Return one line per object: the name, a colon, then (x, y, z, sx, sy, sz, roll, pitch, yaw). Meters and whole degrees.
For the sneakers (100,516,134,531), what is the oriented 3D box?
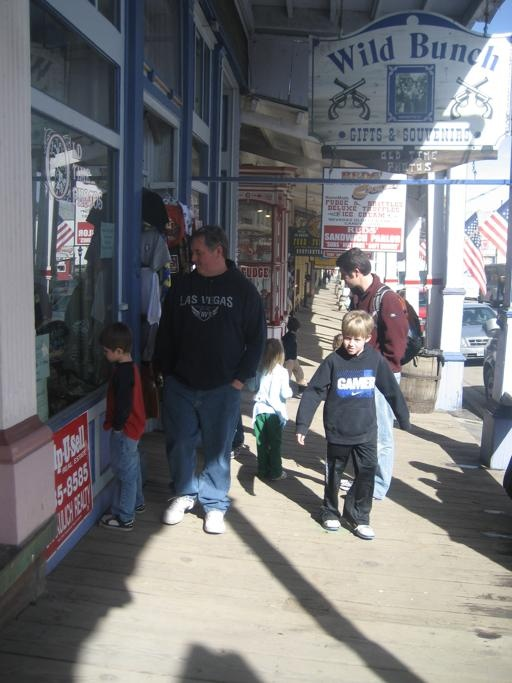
sneakers: (-0.845, 1.095, 3.503, 0.171, 0.077, 0.081, 14, 1, 6)

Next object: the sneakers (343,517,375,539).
sneakers: (0.656, 1.196, 3.724, 0.067, 0.081, 0.201, 1, -3, -27)

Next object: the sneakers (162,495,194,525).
sneakers: (-0.494, 1.064, 3.683, 0.087, 0.107, 0.263, 20, 0, 10)

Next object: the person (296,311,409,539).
person: (0.614, 0.514, 3.713, 0.740, 1.434, 0.371, 3, 5, -1)

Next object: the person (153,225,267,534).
person: (-0.305, 0.230, 3.613, 0.692, 1.889, 0.261, 3, 5, 3)

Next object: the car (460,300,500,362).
car: (5.762, -0.463, 15.380, 1.211, 1.214, 2.493, -1, 17, 19)

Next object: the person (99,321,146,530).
person: (-0.800, 0.510, 3.454, 0.247, 1.264, 0.533, 2, 5, -11)
